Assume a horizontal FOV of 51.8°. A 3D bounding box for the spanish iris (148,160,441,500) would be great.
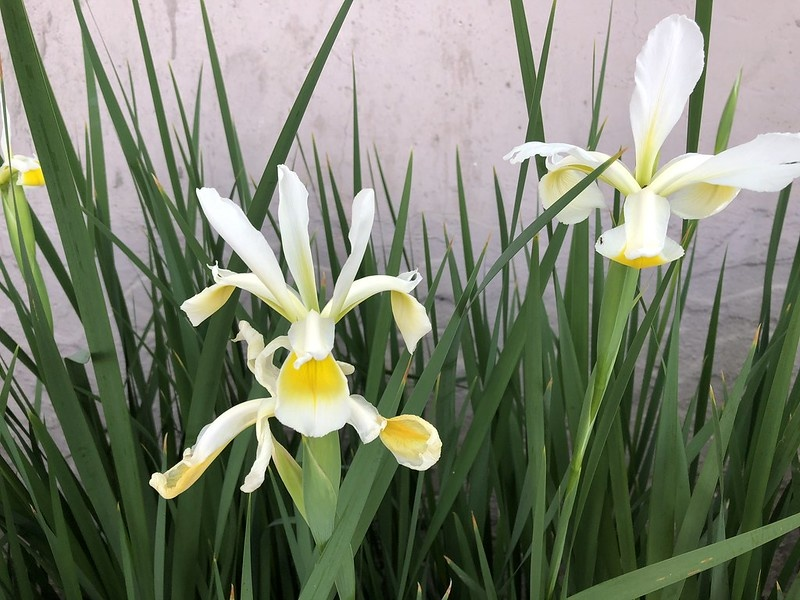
[{"bbox_3d":[-0.117,0.050,0.928,0.251,0.366,0.215,3,41,-5],"label":"spanish iris"}]
